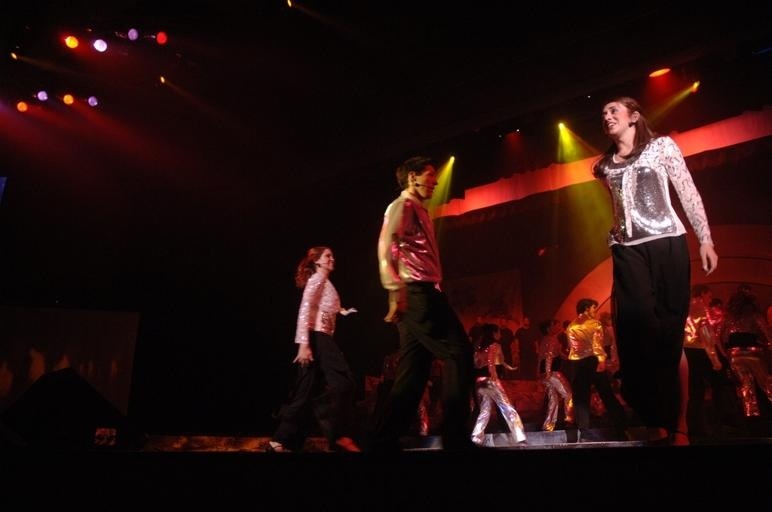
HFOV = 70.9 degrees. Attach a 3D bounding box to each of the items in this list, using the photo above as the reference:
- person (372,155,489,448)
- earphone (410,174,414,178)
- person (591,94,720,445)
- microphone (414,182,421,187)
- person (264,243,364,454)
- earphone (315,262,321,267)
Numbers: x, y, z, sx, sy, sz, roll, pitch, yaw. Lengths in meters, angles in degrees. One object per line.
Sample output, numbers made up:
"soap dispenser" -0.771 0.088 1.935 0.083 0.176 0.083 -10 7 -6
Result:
"person" 0.353 0.318 5.052 0.866 2.806 0.620 -1 -26 6
"earphone" 0.255 -0.778 5.296 0.028 0.034 0.011 4 -8 10
"person" 2.257 0.065 4.567 0.825 2.791 0.888 2 -26 -1
"microphone" 0.310 -0.692 5.287 0.051 0.038 0.052 -3 0 2
"person" -0.786 1.075 6.672 1.046 2.539 0.702 -6 -27 16
"earphone" -0.848 0.114 6.863 0.076 0.065 0.056 -21 3 -15
